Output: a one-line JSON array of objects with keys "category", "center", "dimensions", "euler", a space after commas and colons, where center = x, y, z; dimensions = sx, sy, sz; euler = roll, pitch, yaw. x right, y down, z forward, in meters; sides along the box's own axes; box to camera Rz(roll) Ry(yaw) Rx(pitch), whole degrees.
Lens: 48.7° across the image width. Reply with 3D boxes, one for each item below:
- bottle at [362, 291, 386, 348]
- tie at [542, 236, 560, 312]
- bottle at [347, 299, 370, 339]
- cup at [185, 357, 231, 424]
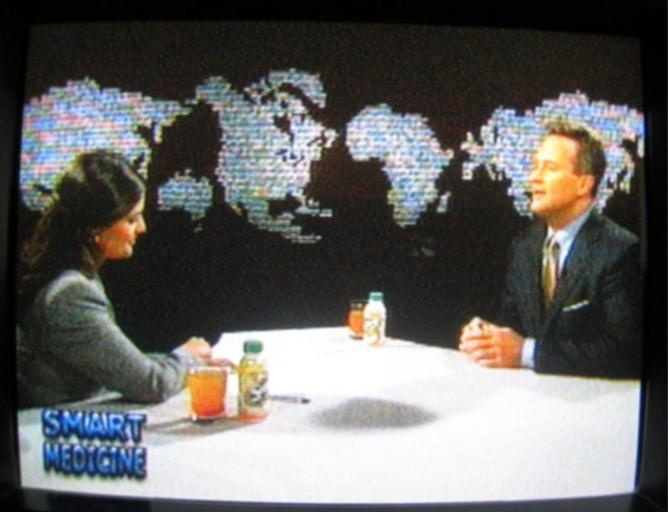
[{"category": "bottle", "center": [0.113, 0.172, 2.020], "dimensions": [0.060, 0.141, 0.025], "euler": [3, 5, -3]}, {"category": "tie", "center": [0.601, 0.045, 2.038], "dimensions": [0.049, 0.194, 0.027], "euler": [3, 5, 2]}, {"category": "bottle", "center": [0.071, 0.174, 2.051], "dimensions": [0.061, 0.092, 0.061], "euler": [-1, -1, 0]}, {"category": "cup", "center": [-0.343, 0.385, 2.064], "dimensions": [0.138, 0.143, 0.117], "euler": [-4, -14, -3]}]
